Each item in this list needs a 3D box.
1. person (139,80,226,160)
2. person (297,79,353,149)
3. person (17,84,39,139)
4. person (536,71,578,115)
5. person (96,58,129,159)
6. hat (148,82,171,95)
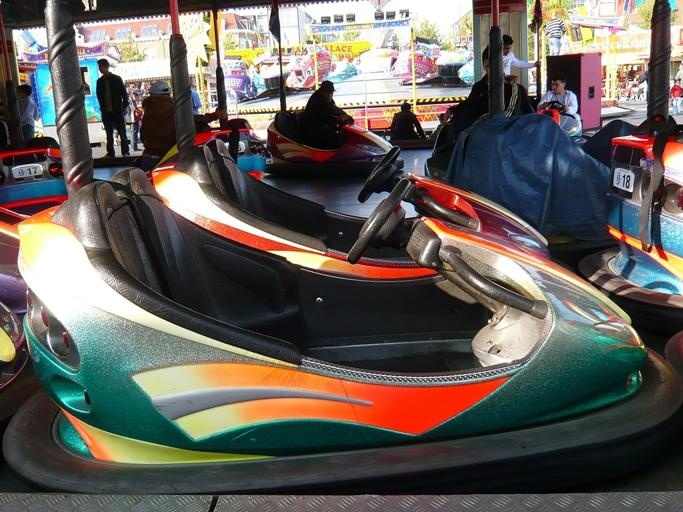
[{"bbox_3d":[-1.823,-1.467,5.269,0.731,0.862,0.584,14,25,12],"label":"person"},{"bbox_3d":[-0.222,-1.852,6.269,0.708,0.836,0.543,-1,17,1],"label":"person"},{"bbox_3d":[-4.537,-2.103,6.888,0.203,0.787,1.709,-11,20,-29],"label":"person"},{"bbox_3d":[3.403,-2.508,7.461,0.559,0.576,1.230,6,18,21],"label":"person"},{"bbox_3d":[-3.729,-2.364,7.853,0.462,1.514,1.408,-9,19,-24],"label":"person"},{"bbox_3d":[-2.157,-1.988,5.603,0.237,0.104,0.302,-1,29,-8],"label":"hat"}]
